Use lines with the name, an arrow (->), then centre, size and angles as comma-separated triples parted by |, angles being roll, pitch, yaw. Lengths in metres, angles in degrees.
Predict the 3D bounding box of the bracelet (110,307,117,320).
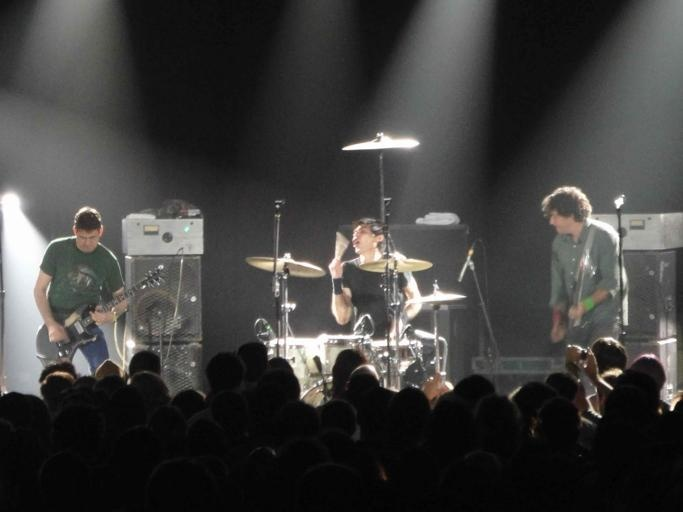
bracelet -> -2.066, 0.536, 6.783 | 0.068, 0.086, 0.093 | 0, -23, -2

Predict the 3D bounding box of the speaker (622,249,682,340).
speaker -> 2.963, 0.368, 7.050 | 0.551, 0.850, 0.167 | -1, -5, -15

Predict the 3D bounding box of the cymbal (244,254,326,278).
cymbal -> -0.505, 0.088, 6.661 | 0.663, 0.181, 0.540 | -2, -5, -8

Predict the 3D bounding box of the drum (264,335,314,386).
drum -> -0.424, 0.972, 6.672 | 0.294, 0.344, 0.303 | 4, -13, 28

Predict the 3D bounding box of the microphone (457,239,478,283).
microphone -> 1.317, 0.065, 7.786 | 0.084, 0.479, 0.104 | 22, 11, 28

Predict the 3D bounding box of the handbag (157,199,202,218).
handbag -> -1.517, -0.446, 7.248 | 0.230, 0.110, 0.331 | 0, -3, 21

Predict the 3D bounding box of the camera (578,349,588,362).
camera -> 1.567, 0.646, 4.793 | 0.050, 0.059, 0.069 | -1, 4, -7

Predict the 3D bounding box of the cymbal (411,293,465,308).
cymbal -> 0.837, 0.391, 6.863 | 0.448, 0.127, 1.131 | -3, -5, 5

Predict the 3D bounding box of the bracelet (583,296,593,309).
bracelet -> 2.247, 0.424, 6.770 | 0.096, 0.077, 0.101 | -3, -2, 10
